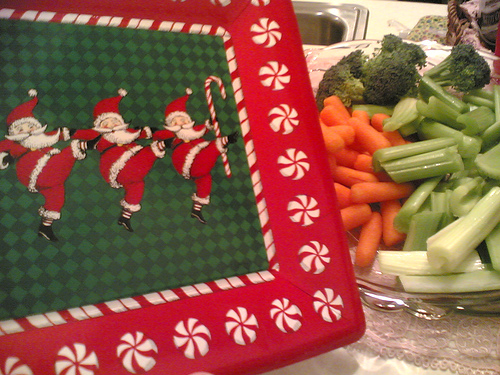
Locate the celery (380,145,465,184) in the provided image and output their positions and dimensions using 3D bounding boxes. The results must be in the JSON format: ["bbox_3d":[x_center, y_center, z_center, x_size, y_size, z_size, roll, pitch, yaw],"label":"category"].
[{"bbox_3d":[0.367,-0.054,1.099,0.166,0.064,0.052,-11,0,8],"label":"celery"}]

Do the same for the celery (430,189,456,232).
[{"bbox_3d":[0.401,0.050,1.050,0.061,0.048,0.085,13,53,13],"label":"celery"}]

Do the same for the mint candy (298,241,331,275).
[{"bbox_3d":[0.114,0.112,0.856,0.075,0.007,0.061,-1,55,40],"label":"mint candy"}]

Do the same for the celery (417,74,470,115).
[{"bbox_3d":[0.447,-0.221,1.193,0.058,0.045,0.165,-31,47,-4],"label":"celery"}]

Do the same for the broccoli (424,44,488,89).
[{"bbox_3d":[0.509,-0.280,1.239,0.152,0.073,0.113,1,32,38],"label":"broccoli"}]

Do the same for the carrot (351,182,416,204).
[{"bbox_3d":[0.300,0.011,1.130,0.159,0.037,0.046,-3,7,39],"label":"carrot"}]

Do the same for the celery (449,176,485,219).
[{"bbox_3d":[0.444,0.019,1.037,0.029,0.074,0.087,-1,52,59],"label":"celery"}]

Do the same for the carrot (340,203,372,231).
[{"bbox_3d":[0.230,0.064,1.132,0.099,0.032,0.039,-17,22,-4],"label":"carrot"}]

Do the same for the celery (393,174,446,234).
[{"bbox_3d":[0.365,0.037,1.083,0.071,0.025,0.157,4,39,41],"label":"celery"}]

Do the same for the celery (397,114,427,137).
[{"bbox_3d":[0.384,-0.142,1.202,0.072,0.020,0.037,-37,32,-4],"label":"celery"}]

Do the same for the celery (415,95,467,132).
[{"bbox_3d":[0.437,-0.165,1.174,0.059,0.123,0.045,-62,-1,-3],"label":"celery"}]

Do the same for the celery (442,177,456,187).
[{"bbox_3d":[0.440,-0.013,1.110,0.021,0.004,0.018,-32,14,8],"label":"celery"}]

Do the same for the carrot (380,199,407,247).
[{"bbox_3d":[0.310,0.076,1.113,0.064,0.092,0.036,3,-15,-7],"label":"carrot"}]

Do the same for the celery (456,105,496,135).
[{"bbox_3d":[0.504,-0.148,1.166,0.103,0.060,0.029,-22,-25,-19],"label":"celery"}]

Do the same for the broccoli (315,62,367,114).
[{"bbox_3d":[0.236,-0.257,1.301,0.141,0.046,0.116,-17,59,17],"label":"broccoli"}]

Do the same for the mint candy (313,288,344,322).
[{"bbox_3d":[0.129,0.192,0.850,0.053,0.006,0.049,-31,-26,-4],"label":"mint candy"}]

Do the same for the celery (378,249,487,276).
[{"bbox_3d":[0.356,0.152,1.040,0.237,0.058,0.050,1,54,15],"label":"celery"}]

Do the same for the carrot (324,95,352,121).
[{"bbox_3d":[0.212,-0.187,1.217,0.038,0.081,0.024,-41,29,49],"label":"carrot"}]

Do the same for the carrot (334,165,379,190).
[{"bbox_3d":[0.231,-0.028,1.167,0.139,0.033,0.041,11,-25,-42],"label":"carrot"}]

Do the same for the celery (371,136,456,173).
[{"bbox_3d":[0.374,-0.059,1.097,0.081,0.062,0.248,21,-11,-25],"label":"celery"}]
